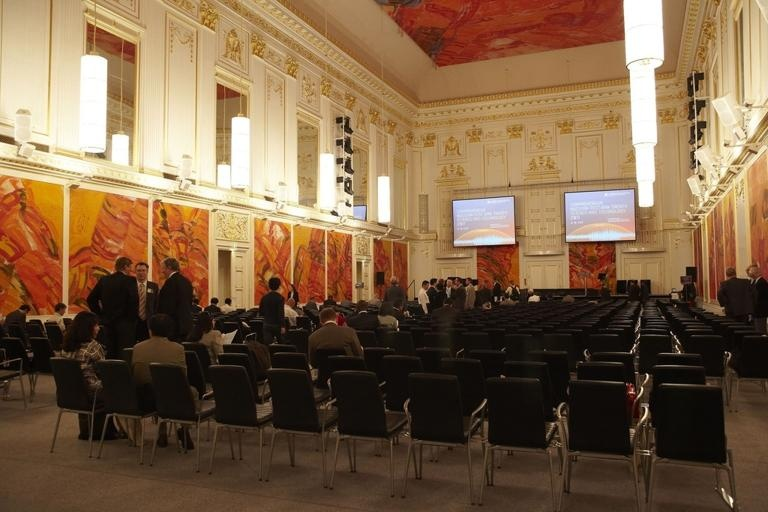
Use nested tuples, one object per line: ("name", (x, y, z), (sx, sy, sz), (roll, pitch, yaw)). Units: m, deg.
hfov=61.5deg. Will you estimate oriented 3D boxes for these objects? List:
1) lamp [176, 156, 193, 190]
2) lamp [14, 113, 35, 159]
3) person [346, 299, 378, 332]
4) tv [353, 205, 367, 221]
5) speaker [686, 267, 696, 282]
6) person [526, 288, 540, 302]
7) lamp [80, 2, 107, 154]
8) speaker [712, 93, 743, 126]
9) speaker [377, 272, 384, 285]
("lamp", (-5.811, -2.426, 18.721), (0.396, 1.027, 0.728), (0, -5, -19))
("lamp", (-8.166, -2.795, 14.640), (0.404, 1.000, 0.669), (1, -6, -29))
("person", (-0.481, 1.318, 14.115), (0.497, 0.444, 1.195), (0, 22, 3))
("tv", (-1.146, -2.039, 30.148), (0.916, 0.950, 0.095), (0, 0, 22))
("speaker", (13.552, 0.791, 28.344), (0.366, 0.650, 0.565), (-3, -5, 19))
("person", (6.368, 1.696, 27.616), (0.522, 0.587, 0.860), (-3, -11, 20))
("lamp", (-7.176, -3.784, 15.817), (0.593, 2.360, 0.526), (0, -5, -16))
("speaker", (8.255, -3.505, 15.494), (0.748, 0.641, 0.475), (1, -6, -29))
("speaker", (-0.223, 1.012, 29.745), (0.369, 0.600, 0.358), (-2, -5, 3))
